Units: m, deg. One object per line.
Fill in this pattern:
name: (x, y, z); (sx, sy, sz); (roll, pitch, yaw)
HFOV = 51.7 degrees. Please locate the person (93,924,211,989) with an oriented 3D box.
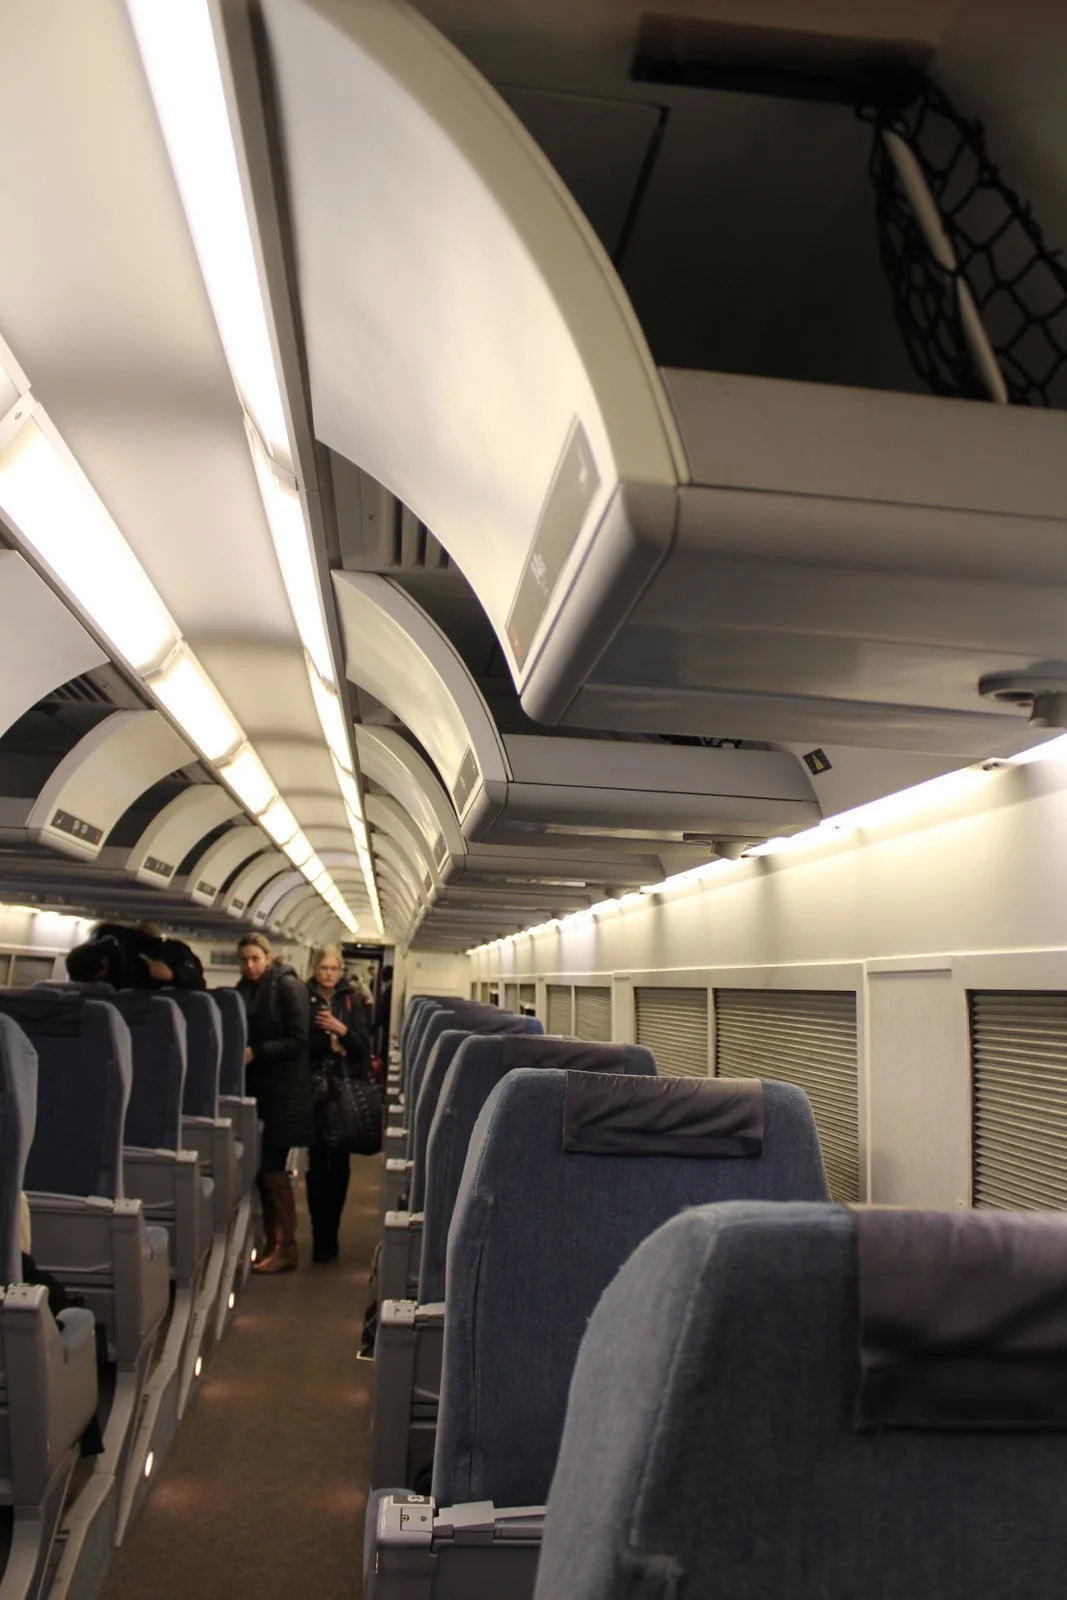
person: (-3.148, 1.286, 9.022); (0.618, 0.315, 0.822); (13, -4, -15)
